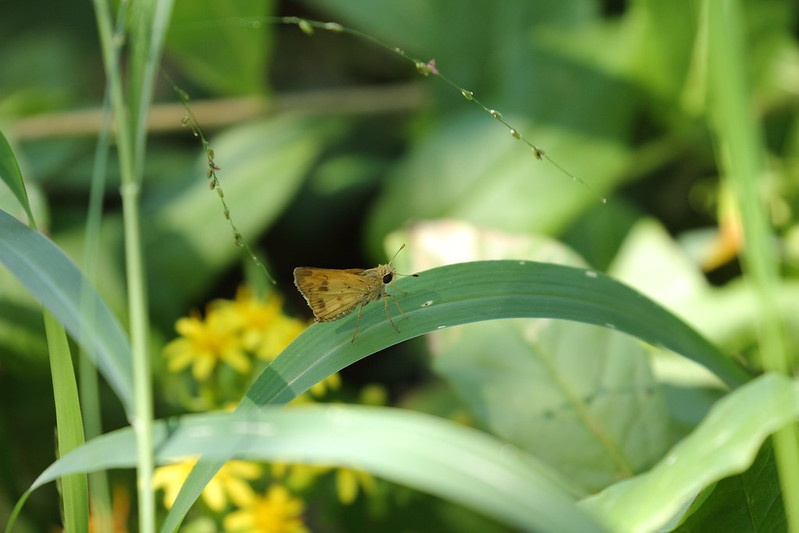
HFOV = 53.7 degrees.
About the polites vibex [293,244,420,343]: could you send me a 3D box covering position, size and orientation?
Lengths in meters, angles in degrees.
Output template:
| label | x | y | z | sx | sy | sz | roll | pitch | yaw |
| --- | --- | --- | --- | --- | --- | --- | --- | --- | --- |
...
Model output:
| label | x | y | z | sx | sy | sz | roll | pitch | yaw |
| --- | --- | --- | --- | --- | --- | --- | --- | --- | --- |
| polites vibex | -0.076 | 0.049 | 1.513 | 0.222 | 0.143 | 0.116 | -13 | -1 | 6 |
